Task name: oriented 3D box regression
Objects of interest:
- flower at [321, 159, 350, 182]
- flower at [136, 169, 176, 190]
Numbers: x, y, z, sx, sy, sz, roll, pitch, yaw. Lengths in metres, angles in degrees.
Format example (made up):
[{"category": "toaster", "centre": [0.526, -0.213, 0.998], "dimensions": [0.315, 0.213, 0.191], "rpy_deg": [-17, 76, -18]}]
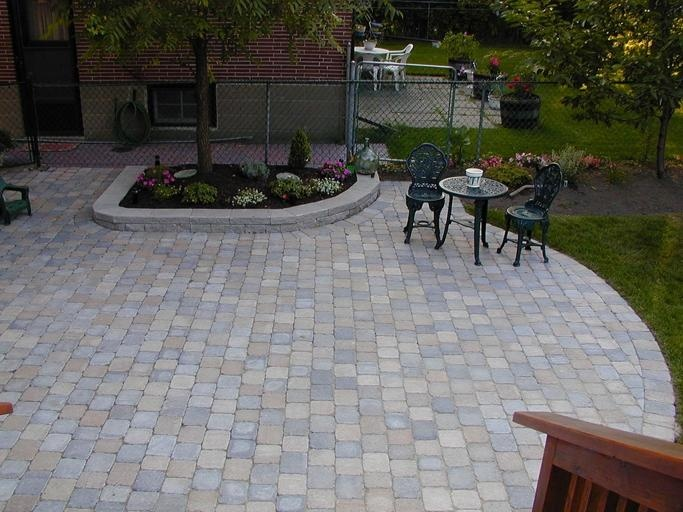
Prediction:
[{"category": "flower", "centre": [-0.146, -1.574, 10.241], "dimensions": [0.489, 0.274, 0.451], "rpy_deg": [14, 28, 16]}, {"category": "flower", "centre": [-3.207, -1.333, 9.583], "dimensions": [0.512, 0.273, 0.498], "rpy_deg": [-9, 20, -31]}]
